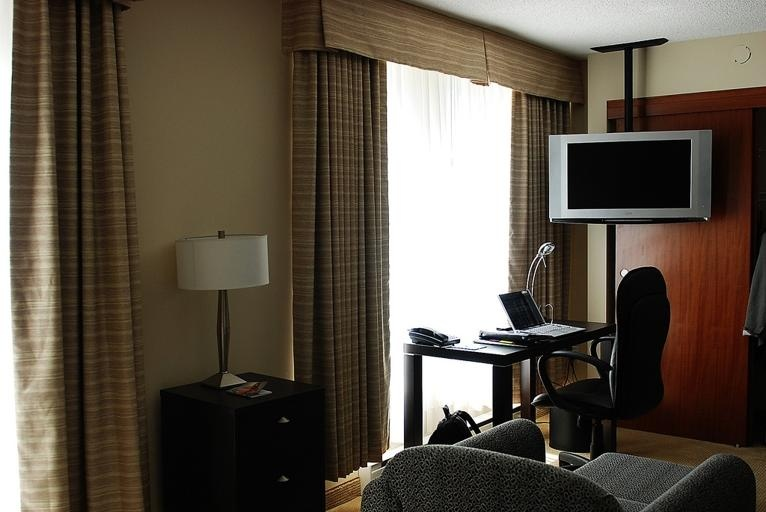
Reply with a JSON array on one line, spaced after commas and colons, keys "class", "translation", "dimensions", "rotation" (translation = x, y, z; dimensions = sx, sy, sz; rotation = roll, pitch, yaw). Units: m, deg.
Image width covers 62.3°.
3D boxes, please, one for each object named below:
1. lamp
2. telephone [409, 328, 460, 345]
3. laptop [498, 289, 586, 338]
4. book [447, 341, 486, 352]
[{"class": "lamp", "translation": [-0.883, 0.290, 3.521], "dimensions": [0.497, 0.853, 0.367], "rotation": [-4, 6, -16]}, {"class": "telephone", "translation": [0.341, 0.558, 4.367], "dimensions": [0.214, 0.076, 0.160], "rotation": [-2, -2, 30]}, {"class": "laptop", "translation": [1.082, 0.423, 4.583], "dimensions": [0.396, 0.238, 0.418], "rotation": [-1, 3, 38]}, {"class": "book", "translation": [0.585, 0.607, 4.244], "dimensions": [0.248, 0.019, 0.228], "rotation": [2, 6, 36]}]
